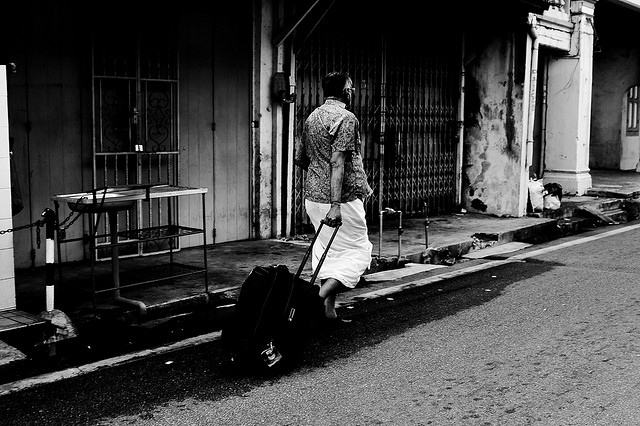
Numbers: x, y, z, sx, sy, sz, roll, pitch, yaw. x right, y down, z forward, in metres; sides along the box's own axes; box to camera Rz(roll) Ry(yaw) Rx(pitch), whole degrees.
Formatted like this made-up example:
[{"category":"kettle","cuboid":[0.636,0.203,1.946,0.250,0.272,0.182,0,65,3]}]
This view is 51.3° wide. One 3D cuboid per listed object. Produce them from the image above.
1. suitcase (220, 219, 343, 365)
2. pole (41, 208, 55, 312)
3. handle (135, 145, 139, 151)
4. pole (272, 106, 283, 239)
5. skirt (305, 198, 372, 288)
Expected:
[{"category":"suitcase","cuboid":[-0.512,0.965,7.275,1.075,1.350,0.466,0,13,-11]},{"category":"pole","cuboid":[-3.185,0.582,7.957,0.219,1.201,0.265,-1,-3,-7]},{"category":"handle","cuboid":[-2.868,-1.035,10.505,0.035,0.086,0.094,-7,16,-35]},{"category":"pole","cuboid":[-0.758,-0.745,12.161,0.235,2.365,0.421,1,13,-6]},{"category":"skirt","cuboid":[-0.046,0.390,8.113,0.627,1.150,1.305,1,-4,-9]}]
